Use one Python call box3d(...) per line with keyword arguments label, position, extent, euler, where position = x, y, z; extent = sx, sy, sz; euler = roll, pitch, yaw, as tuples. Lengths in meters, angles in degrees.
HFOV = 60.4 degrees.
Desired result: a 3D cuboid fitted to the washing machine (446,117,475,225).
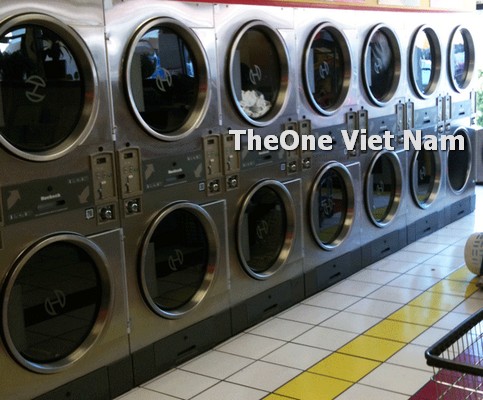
box3d(label="washing machine", position=(3.402, -0.437, 6.421), extent=(0.282, 1.400, 0.899), euler=(6, 12, 42))
